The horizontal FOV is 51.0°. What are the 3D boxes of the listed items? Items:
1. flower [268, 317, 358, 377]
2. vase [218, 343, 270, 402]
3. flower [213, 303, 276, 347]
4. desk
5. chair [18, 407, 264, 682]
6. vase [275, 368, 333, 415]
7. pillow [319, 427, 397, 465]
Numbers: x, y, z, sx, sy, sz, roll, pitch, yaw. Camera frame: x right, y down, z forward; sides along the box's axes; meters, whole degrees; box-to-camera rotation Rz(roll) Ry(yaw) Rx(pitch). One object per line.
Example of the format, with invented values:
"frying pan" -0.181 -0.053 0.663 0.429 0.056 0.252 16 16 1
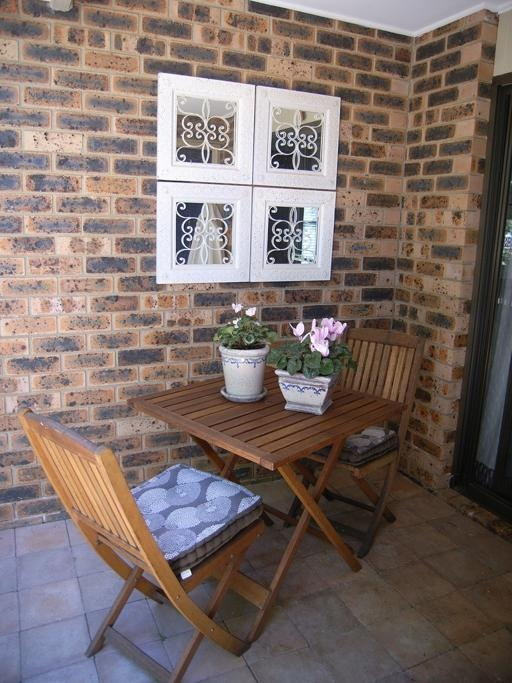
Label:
"flower" 0.189 0.018 1.960 0.252 0.147 0.268 -12 18 -34
"vase" -0.024 0.097 2.089 0.218 0.203 0.209 4 15 9
"flower" -0.051 -0.051 2.072 0.258 0.162 0.263 5 -8 -35
"desk" 0.024 0.566 1.996 0.880 0.599 0.867 -1 7 -27
"chair" -0.387 0.688 1.734 0.643 0.835 0.490 -19 31 -39
"vase" 0.133 0.218 1.967 0.230 0.140 0.166 9 -35 -24
"pillow" 0.466 0.438 2.261 0.190 0.048 0.175 -17 7 -34
